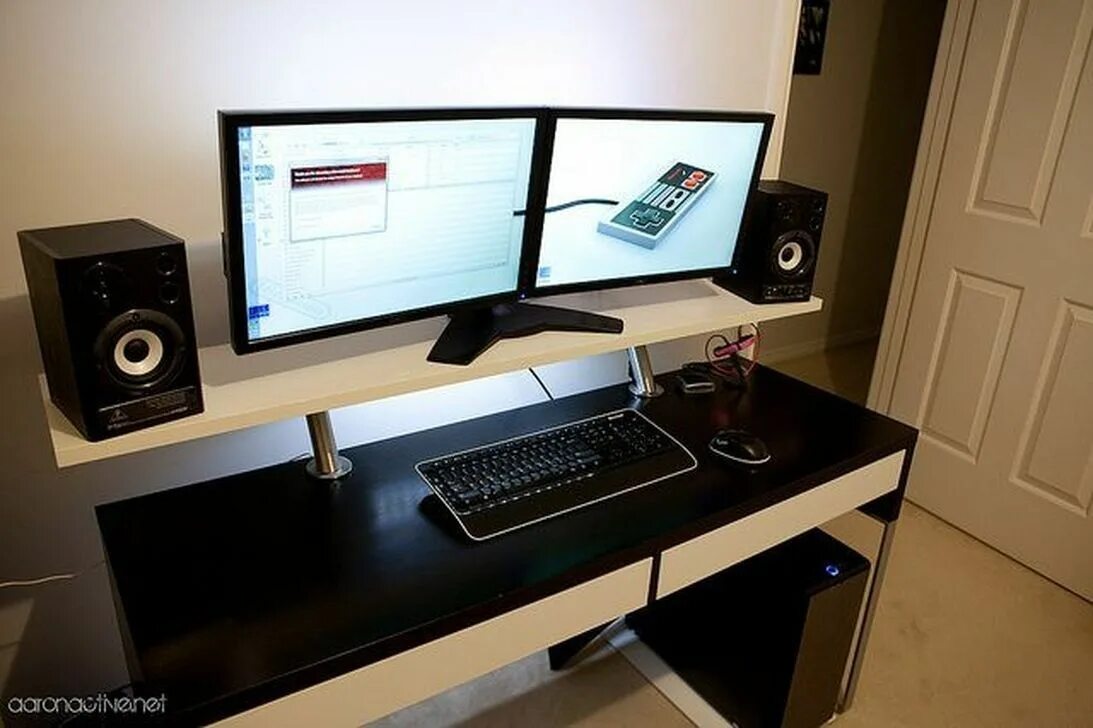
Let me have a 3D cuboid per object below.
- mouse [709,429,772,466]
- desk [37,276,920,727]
[{"bbox_3d":[0.519,0.226,1.934,0.085,0.047,0.133,-15,30,-28],"label":"mouse"},{"bbox_3d":[-0.096,0.528,1.997,2.024,1.207,0.787,-10,29,-20],"label":"desk"}]
